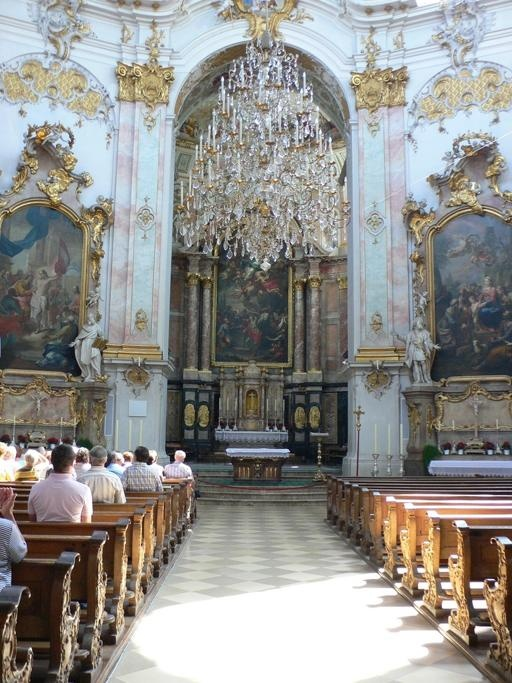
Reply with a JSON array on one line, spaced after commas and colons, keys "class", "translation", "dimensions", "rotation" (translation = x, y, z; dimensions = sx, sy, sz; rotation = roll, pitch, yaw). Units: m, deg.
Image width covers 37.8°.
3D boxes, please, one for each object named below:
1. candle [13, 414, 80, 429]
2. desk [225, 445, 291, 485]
[{"class": "candle", "translation": [-4.265, 1.546, 14.863], "dimensions": [1.293, 0.257, 0.225], "rotation": [3, -7, -30]}, {"class": "desk", "translation": [0.030, 2.619, 16.137], "dimensions": [1.286, 0.547, 0.773], "rotation": [1, -14, -1]}]
